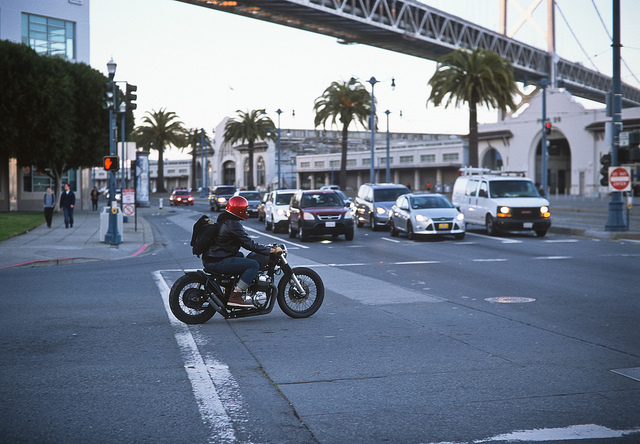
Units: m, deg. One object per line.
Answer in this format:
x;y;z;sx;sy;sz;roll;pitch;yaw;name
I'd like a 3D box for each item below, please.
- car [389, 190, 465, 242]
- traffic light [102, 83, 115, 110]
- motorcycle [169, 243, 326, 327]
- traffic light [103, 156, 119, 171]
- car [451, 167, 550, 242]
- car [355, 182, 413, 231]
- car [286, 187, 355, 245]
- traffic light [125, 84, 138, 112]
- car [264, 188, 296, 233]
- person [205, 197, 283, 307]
4.231;-0.177;26.210;1.866;1.734;3.141;-3;6;-20;car
-8.064;-4.825;25.380;0.401;0.962;0.508;-3;6;-26;traffic light
-1.199;0.945;11.250;2.576;1.430;1.102;-2;5;-18;motorcycle
-7.505;-2.106;23.949;0.488;0.529;0.929;-3;6;-18;traffic light
7.569;-0.883;28.410;2.361;2.901;5.418;0;3;-11;car
2.896;-0.857;31.852;1.595;1.514;3.033;0;2;-15;car
-0.139;-0.324;26.562;1.604;1.463;2.902;0;-3;-11;car
-7.577;-4.990;26.630;0.414;0.939;2.053;-2;6;-16;traffic light
-1.772;-0.618;31.343;1.157;1.219;2.150;-1;-1;-14;car
-1.374;0.491;10.957;1.023;1.760;0.330;-2;5;-7;person
